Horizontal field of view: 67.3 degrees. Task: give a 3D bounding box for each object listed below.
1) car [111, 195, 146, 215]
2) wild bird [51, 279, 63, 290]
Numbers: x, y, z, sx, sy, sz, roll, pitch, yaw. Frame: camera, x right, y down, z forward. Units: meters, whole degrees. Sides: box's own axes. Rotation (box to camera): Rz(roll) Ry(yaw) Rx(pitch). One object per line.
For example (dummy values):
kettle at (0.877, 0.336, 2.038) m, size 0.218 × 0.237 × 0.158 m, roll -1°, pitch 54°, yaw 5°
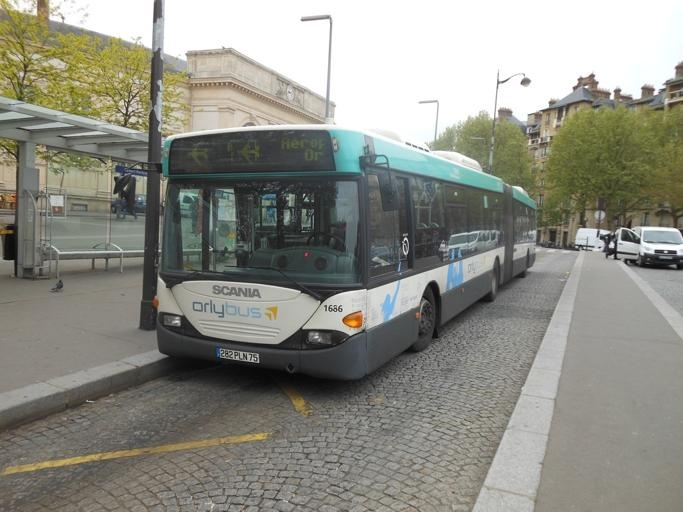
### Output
car at (-7.034, -1.690, 17.074) m, size 0.774 × 0.714 × 4.697 m, roll -2°, pitch 9°, yaw -18°
wild bird at (-6.475, 0.643, 11.718) m, size 0.170 × 0.312 × 0.307 m, roll 3°, pitch 1°, yaw 10°
